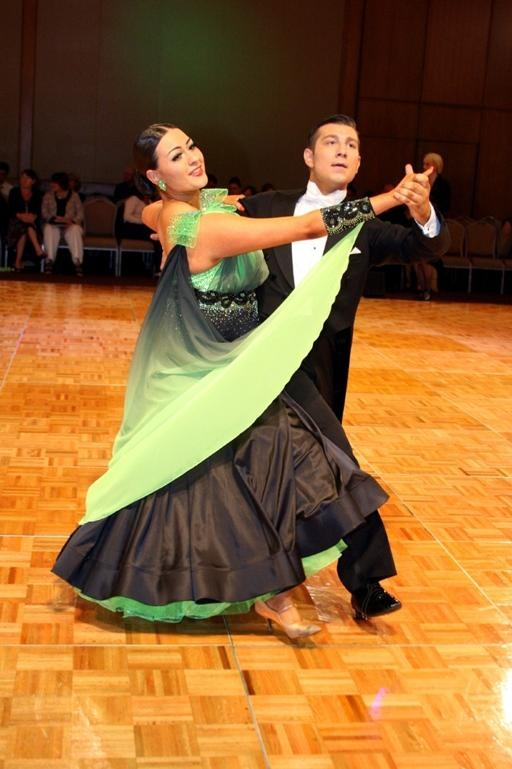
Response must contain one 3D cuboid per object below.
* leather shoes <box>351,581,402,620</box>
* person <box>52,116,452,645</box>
[{"bbox_3d":[0.297,0.544,1.418,0.066,0.077,0.175,-8,-13,-27],"label":"leather shoes"},{"bbox_3d":[0.074,-0.122,1.939,1.364,1.570,0.960,-5,17,-12],"label":"person"}]
